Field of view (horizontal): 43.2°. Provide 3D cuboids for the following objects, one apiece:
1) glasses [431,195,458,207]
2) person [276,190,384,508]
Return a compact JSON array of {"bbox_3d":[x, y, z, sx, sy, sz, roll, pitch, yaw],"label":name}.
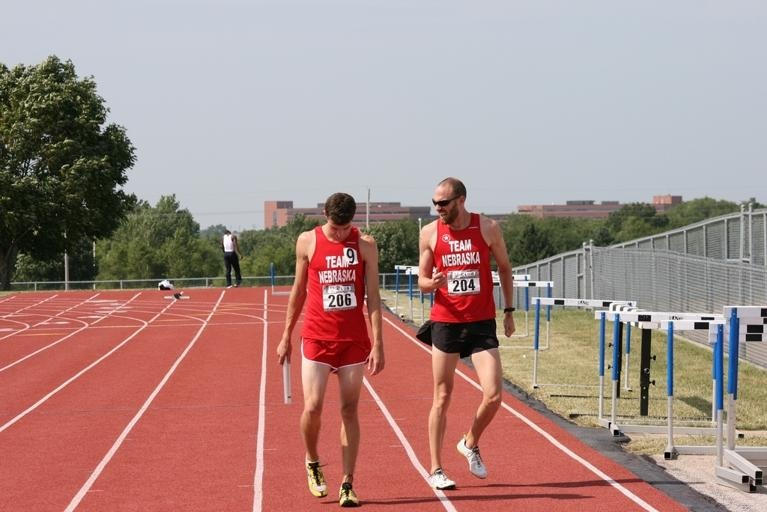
[{"bbox_3d":[0.880,-0.727,13.625,0.396,0.169,0.172,-2,8,-10],"label":"glasses"},{"bbox_3d":[-0.686,1.327,13.448,1.328,4.294,0.656,-2,8,-6],"label":"person"}]
